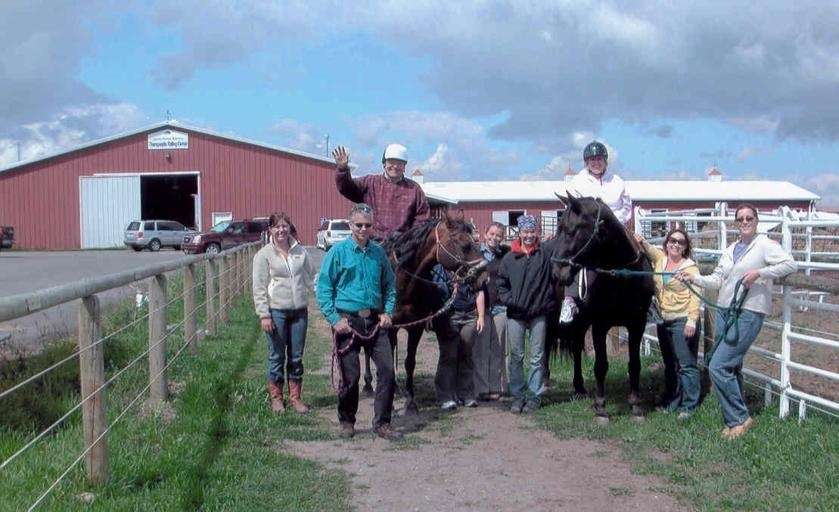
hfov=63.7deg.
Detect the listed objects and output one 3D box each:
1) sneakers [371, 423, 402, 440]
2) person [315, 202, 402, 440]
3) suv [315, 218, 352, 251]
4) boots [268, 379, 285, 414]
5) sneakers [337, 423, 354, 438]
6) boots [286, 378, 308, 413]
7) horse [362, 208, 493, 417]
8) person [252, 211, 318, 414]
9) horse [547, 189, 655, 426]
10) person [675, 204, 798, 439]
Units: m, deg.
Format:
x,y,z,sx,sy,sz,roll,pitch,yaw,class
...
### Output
x,y,z,sx,sy,sz,roll,pitch,yaw,class
-0.441,2.383,9.270,0.368,0.175,0.186,8,7,20,sneakers
-0.817,0.875,9.154,1.046,3.110,0.727,-1,11,-10,person
-4.247,-0.883,33.453,1.658,1.656,3.783,0,10,-14,suv
-2.094,2.079,9.974,0.206,0.549,0.551,-2,2,-15,boots
-0.994,2.386,9.265,0.137,0.091,0.218,10,6,-8,sneakers
-1.815,2.073,10.087,0.195,0.522,0.515,0,0,-25,boots
-0.307,0.787,10.224,0.859,2.345,3.108,7,-10,-40,horse
-1.992,0.844,9.956,0.836,2.928,0.756,-1,11,-13,person
2.509,0.708,9.605,1.786,3.277,1.076,-5,12,-29,horse
4.218,0.840,8.945,1.155,2.981,0.771,10,13,38,person
